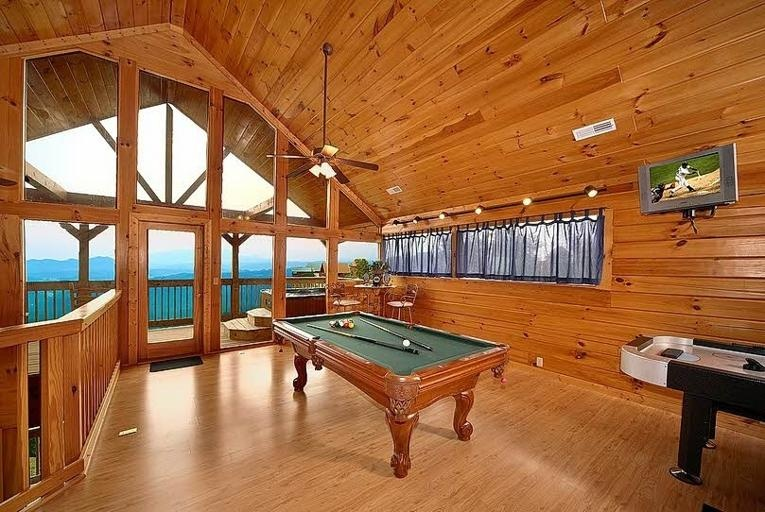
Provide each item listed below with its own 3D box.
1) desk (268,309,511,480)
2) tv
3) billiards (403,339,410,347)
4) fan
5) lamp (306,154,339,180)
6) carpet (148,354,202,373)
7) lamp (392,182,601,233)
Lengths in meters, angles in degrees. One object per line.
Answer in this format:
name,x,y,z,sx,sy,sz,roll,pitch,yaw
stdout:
desk,-0.201,1.510,6.084,1.921,0.976,3.191,-3,7,-43
tv,3.830,-0.942,5.744,1.059,0.705,0.139,-2,4,41
billiards,0.297,1.052,5.597,0.071,0.035,0.065,5,8,-2
fan,-1.001,-2.355,7.442,2.286,1.934,1.621,3,-11,-6
lamp,-0.804,-1.198,6.312,0.354,0.262,0.301,-2,-1,-7
carpet,-3.292,1.720,7.411,0.761,0.112,0.568,-1,-2,-25
lamp,1.736,-0.814,7.995,0.276,0.266,3.966,-2,-1,-44
